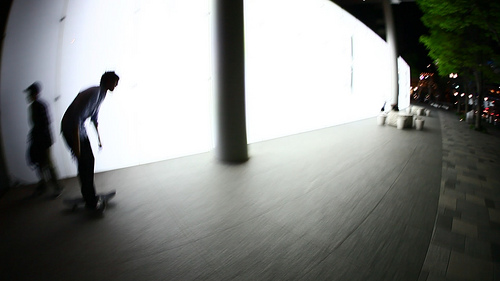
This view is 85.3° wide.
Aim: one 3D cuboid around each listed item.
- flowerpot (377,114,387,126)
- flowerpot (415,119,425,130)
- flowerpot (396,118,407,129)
[{"bbox_3d":[7.142,-1.118,14.612,0.434,0.556,0.259,-1,13,9],"label":"flowerpot"},{"bbox_3d":[8.216,-0.795,13.177,0.419,0.545,0.345,9,18,44],"label":"flowerpot"},{"bbox_3d":[7.551,-0.840,13.663,0.403,0.459,0.480,12,-8,11],"label":"flowerpot"}]
